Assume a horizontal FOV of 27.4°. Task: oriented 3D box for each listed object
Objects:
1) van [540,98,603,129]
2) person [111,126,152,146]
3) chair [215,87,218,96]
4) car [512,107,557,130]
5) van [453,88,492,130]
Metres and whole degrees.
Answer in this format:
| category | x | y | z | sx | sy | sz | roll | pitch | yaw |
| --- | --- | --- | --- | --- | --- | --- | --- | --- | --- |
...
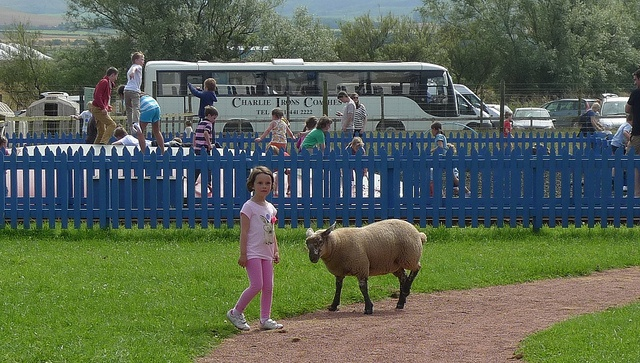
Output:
| category | x | y | z | sx | sy | sz | roll | pitch | yaw |
| --- | --- | --- | --- | --- | --- | --- | --- | --- | --- |
| van | 19.235 | -5.210 | 101.745 | 4.004 | 1.887 | 2.491 | 4 | 6 | 24 |
| person | -11.623 | -2.741 | 78.622 | 1.461 | 0.632 | 1.106 | 17 | 14 | 40 |
| chair | -7.536 | -6.818 | 97.728 | 0.385 | 0.683 | 0.414 | 1 | 8 | -2 |
| car | 16.090 | -4.930 | 98.444 | 2.883 | 1.942 | 9.639 | 0 | 1 | 8 |
| van | 12.525 | -5.874 | 101.006 | 4.008 | 2.311 | 2.321 | -1 | 5 | -3 |
